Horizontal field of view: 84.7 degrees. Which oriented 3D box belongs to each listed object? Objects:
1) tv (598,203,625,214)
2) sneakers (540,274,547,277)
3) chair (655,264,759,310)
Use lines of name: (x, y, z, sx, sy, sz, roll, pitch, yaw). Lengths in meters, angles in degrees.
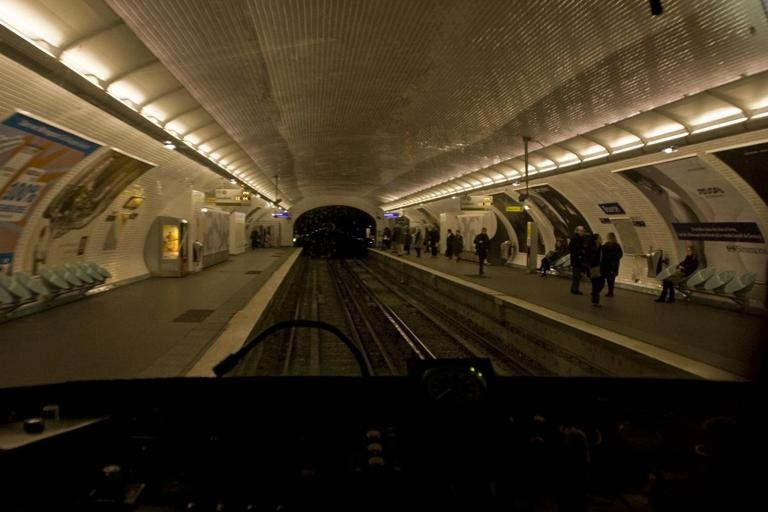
tv: (7.262, -1.521, 13.470, 0.404, 0.386, 0.986, 0, 4, -4)
sneakers: (6.512, 0.781, 17.222, 0.141, 0.150, 0.392, -5, -9, 17)
chair: (7.924, 0.719, 10.151, 0.713, 0.842, 1.748, 0, 4, -5)
